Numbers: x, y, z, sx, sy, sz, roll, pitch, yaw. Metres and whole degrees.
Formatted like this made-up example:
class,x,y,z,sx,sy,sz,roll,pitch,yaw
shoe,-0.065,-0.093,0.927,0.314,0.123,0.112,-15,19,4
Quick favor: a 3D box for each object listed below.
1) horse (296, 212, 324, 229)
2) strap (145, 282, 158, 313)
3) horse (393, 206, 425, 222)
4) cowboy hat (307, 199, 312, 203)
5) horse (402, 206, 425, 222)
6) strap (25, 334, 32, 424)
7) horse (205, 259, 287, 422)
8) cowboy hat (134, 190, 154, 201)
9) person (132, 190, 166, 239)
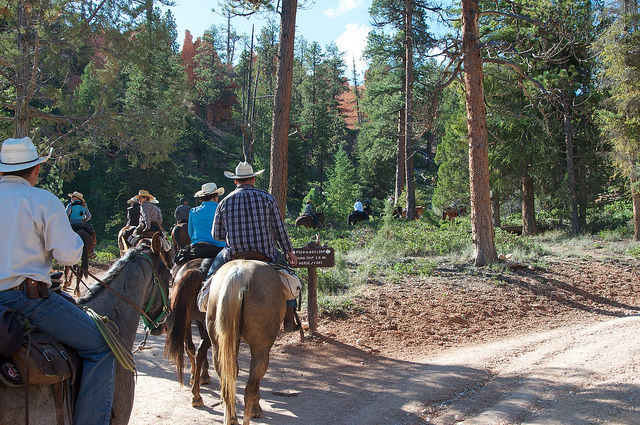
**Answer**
class,x,y,z,sx,sy,sz,roll,pitch,yaw
horse,-0.695,0.474,47.465,0.627,1.531,2.397,4,6,36
strap,-4.950,2.449,23.565,0.144,1.192,0.159,9,-15,17
horse,5.325,0.063,47.805,1.749,0.938,3.674,-2,-3,7
cowboy hat,-0.717,-0.754,51.413,0.297,0.157,0.434,3,1,5
horse,5.613,0.063,47.784,1.247,0.919,3.692,-2,-3,5
strap,-8.107,4.599,22.040,0.208,2.441,0.078,0,-2,-41
horse,-2.292,3.904,24.237,2.200,4.882,0.706,-1,-2,-12
cowboy hat,-7.060,-0.740,32.194,0.546,0.260,0.502,6,-11,-11
person,-6.989,0.617,32.225,1.095,3.043,1.191,-11,-11,44
